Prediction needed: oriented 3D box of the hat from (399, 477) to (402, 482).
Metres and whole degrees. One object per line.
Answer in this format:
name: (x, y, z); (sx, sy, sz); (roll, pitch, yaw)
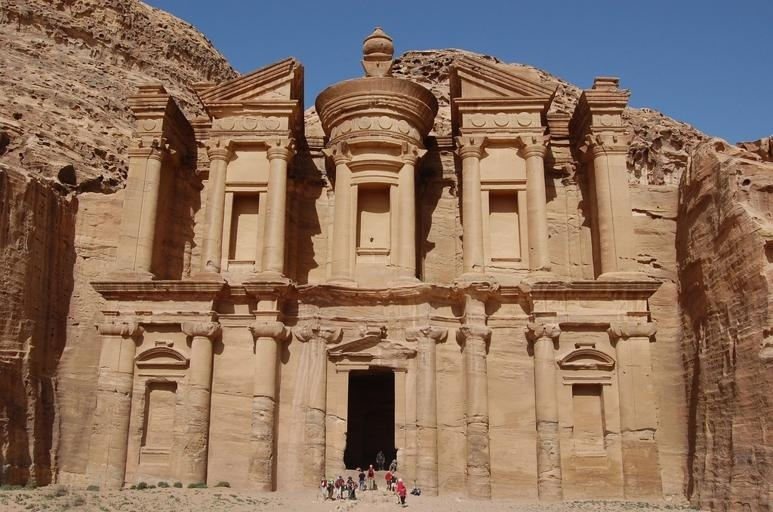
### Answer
hat: (0.530, 8.116, 32.397); (0.139, 0.132, 0.369); (1, 1, 4)

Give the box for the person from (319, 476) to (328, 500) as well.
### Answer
person: (-2.196, 8.282, 31.995); (0.245, 0.665, 0.806); (-1, 8, -7)

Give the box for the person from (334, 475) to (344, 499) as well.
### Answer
person: (-1.664, 8.260, 32.084); (0.301, 0.696, 0.768); (-1, 8, -4)
